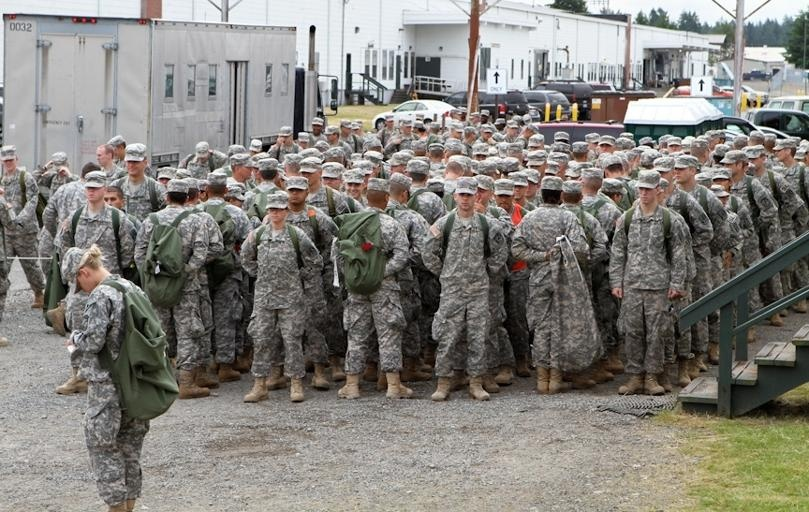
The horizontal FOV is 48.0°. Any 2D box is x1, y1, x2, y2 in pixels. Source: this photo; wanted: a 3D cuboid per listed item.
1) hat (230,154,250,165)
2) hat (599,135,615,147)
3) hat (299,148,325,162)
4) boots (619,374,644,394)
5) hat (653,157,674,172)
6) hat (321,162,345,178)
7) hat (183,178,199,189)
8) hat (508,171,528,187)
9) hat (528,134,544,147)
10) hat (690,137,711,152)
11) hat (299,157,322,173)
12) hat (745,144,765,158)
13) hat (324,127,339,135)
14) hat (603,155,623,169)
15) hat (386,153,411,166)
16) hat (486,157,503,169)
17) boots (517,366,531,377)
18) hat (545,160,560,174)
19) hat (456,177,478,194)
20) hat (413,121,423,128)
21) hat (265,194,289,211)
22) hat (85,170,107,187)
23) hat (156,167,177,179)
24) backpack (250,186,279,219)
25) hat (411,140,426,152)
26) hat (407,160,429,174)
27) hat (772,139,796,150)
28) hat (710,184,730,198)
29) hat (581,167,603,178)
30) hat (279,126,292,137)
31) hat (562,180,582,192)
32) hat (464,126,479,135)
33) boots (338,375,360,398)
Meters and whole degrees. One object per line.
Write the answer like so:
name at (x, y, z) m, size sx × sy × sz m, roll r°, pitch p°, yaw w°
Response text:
hat at (-2.431, -1.417, 13.487) m, size 0.277 × 0.184 × 0.436 m, roll -4°, pitch 13°, yaw -12°
hat at (3.817, -2.139, 16.986) m, size 0.265 × 0.138 × 0.392 m, roll 2°, pitch 2°, yaw 17°
hat at (-1.547, -1.702, 15.220) m, size 0.491 × 0.220 × 0.672 m, roll 2°, pitch 2°, yaw 4°
boots at (2.932, 1.652, 11.824) m, size 0.380 × 0.343 × 0.171 m, roll 1°, pitch 4°, yaw -10°
hat at (3.404, -1.191, 11.838) m, size 0.203 × 0.138 × 0.278 m, roll -1°, pitch 2°, yaw 26°
hat at (-0.984, -1.166, 12.500) m, size 0.278 × 0.211 × 0.243 m, roll -2°, pitch 12°, yaw -5°
hat at (-2.764, -0.920, 11.717) m, size 0.162 × 0.113 × 0.158 m, roll 2°, pitch 3°, yaw 3°
hat at (1.570, -1.038, 12.385) m, size 0.262 × 0.125 × 0.363 m, roll 3°, pitch 5°, yaw 7°
hat at (2.532, -2.196, 17.372) m, size 0.261 × 0.179 × 0.367 m, roll 3°, pitch 6°, yaw 14°
hat at (5.004, -1.892, 15.289) m, size 0.289 × 0.228 × 0.310 m, roll 4°, pitch 10°, yaw 18°
hat at (-1.271, -1.232, 12.270) m, size 0.187 × 0.127 × 0.256 m, roll 2°, pitch 3°, yaw 45°
hat at (5.745, -1.693, 14.951) m, size 0.517 × 0.203 × 0.239 m, roll -10°, pitch 15°, yaw -35°
hat at (-1.631, -2.802, 20.464) m, size 0.350 × 0.134 × 0.482 m, roll 0°, pitch 10°, yaw -3°
hat at (3.021, -1.356, 13.149) m, size 0.203 × 0.120 × 0.196 m, roll 3°, pitch -1°, yaw -31°
hat at (-0.062, -1.418, 13.398) m, size 0.298 × 0.140 × 0.194 m, roll 0°, pitch 8°, yaw 2°
hat at (1.399, -1.443, 13.966) m, size 0.248 × 0.137 × 0.270 m, roll 0°, pitch 2°, yaw 3°
boots at (1.681, 1.614, 12.717) m, size 0.210 × 0.124 × 0.212 m, roll -1°, pitch 12°, yaw 0°
hat at (2.278, -1.335, 13.898) m, size 0.207 × 0.225 × 0.323 m, roll 1°, pitch 12°, yaw 12°
hat at (0.807, -0.880, 11.422) m, size 0.273 × 0.214 × 0.193 m, roll -2°, pitch 12°, yaw -5°
hat at (0.348, -3.052, 21.158) m, size 0.194 × 0.108 × 0.196 m, roll 6°, pitch 8°, yaw 30°
hat at (-1.583, -0.680, 11.386) m, size 0.251 × 0.216 × 0.171 m, roll -4°, pitch 12°, yaw -13°
hat at (-4.008, -0.988, 11.802) m, size 0.239 × 0.192 × 0.350 m, roll -3°, pitch 12°, yaw -10°
hat at (-3.544, -1.228, 13.615) m, size 0.243 × 0.112 × 0.349 m, roll 0°, pitch 3°, yaw -7°
backpack at (-1.884, -0.705, 12.309) m, size 0.259 × 0.441 × 0.376 m, roll 23°, pitch -1°, yaw 22°
hat at (0.292, -2.091, 17.531) m, size 0.273 × 0.255 × 0.258 m, roll 3°, pitch 11°, yaw 5°
hat at (0.198, -1.226, 12.645) m, size 0.237 × 0.137 × 0.229 m, roll 1°, pitch 5°, yaw -17°
hat at (6.706, -1.936, 15.865) m, size 0.302 × 0.118 × 0.207 m, roll -7°, pitch 8°, yaw -12°
hat at (4.582, -0.917, 13.096) m, size 0.263 × 0.084 × 0.177 m, roll 14°, pitch 13°, yaw -14°
hat at (2.591, -1.132, 12.420) m, size 0.193 × 0.092 × 0.186 m, roll 3°, pitch -1°, yaw -31°
hat at (-2.509, -2.696, 19.428) m, size 0.318 × 0.131 × 0.442 m, roll 1°, pitch 0°, yaw -2°
hat at (2.200, -0.893, 11.896) m, size 0.253 × 0.151 × 0.163 m, roll 0°, pitch 12°, yaw 6°
hat at (1.476, -2.742, 19.983) m, size 0.363 × 0.174 × 0.498 m, roll 1°, pitch 7°, yaw 4°
boots at (-0.704, 1.693, 11.807) m, size 0.195 × 0.354 × 0.380 m, roll -1°, pitch 9°, yaw -23°
